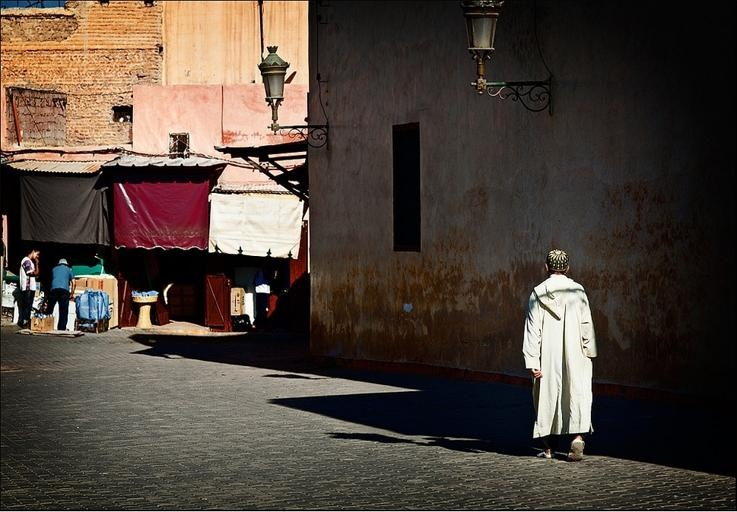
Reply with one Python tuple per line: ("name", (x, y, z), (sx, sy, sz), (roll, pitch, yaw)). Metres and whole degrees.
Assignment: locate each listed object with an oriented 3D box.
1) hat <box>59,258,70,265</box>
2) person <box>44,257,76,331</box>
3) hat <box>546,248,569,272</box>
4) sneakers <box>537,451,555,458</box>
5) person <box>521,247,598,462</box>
("hat", (-8.180, 0.145, 29.756), (0.174, 0.207, 0.222), (1, 6, 4))
("person", (-7.980, 0.980, 28.734), (0.673, 1.770, 0.680), (-4, 7, -22))
("hat", (2.442, 0.048, 14.214), (0.263, 0.281, 0.345), (1, 13, 3))
("sneakers", (2.239, 2.510, 13.993), (0.209, 0.087, 0.083), (3, 6, 14))
("person", (2.392, 1.101, 13.961), (0.860, 2.262, 0.558), (0, 6, 10))
